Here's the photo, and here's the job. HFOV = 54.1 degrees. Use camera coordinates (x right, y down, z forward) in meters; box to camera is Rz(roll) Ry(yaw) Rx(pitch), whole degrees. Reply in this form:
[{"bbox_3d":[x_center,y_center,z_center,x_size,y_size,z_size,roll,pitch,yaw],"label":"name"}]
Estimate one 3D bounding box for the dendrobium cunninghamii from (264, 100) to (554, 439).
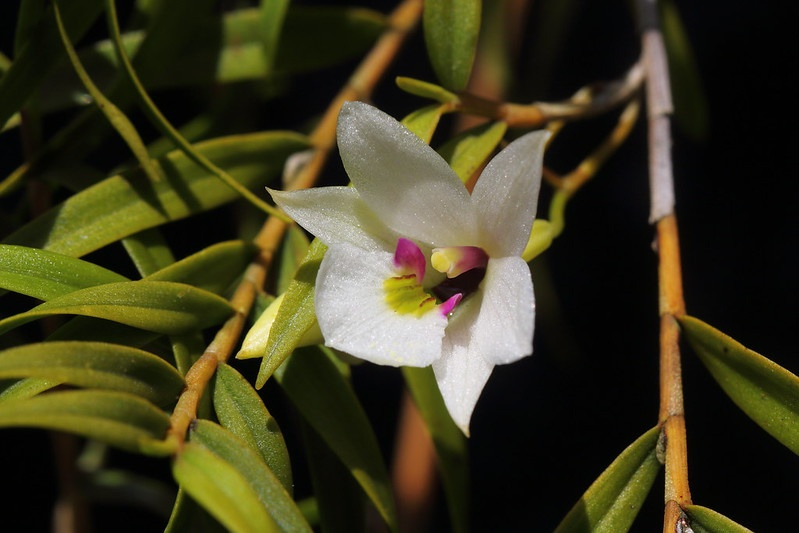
[{"bbox_3d":[0.115,0.028,1.267,0.491,0.470,0.272,-5,-19,10],"label":"dendrobium cunninghamii"}]
